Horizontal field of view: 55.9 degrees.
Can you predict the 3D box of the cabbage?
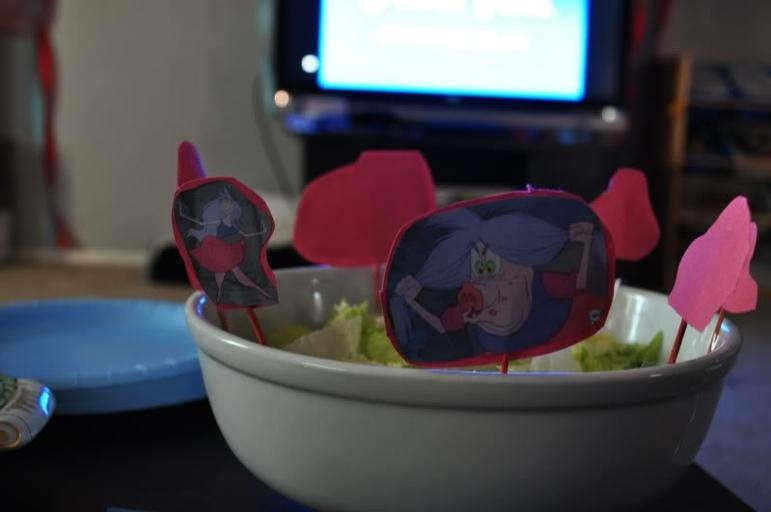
[{"bbox_3d":[0.067,0.045,0.589,0.153,0.051,0.259,3,9,-10],"label":"cabbage"}]
